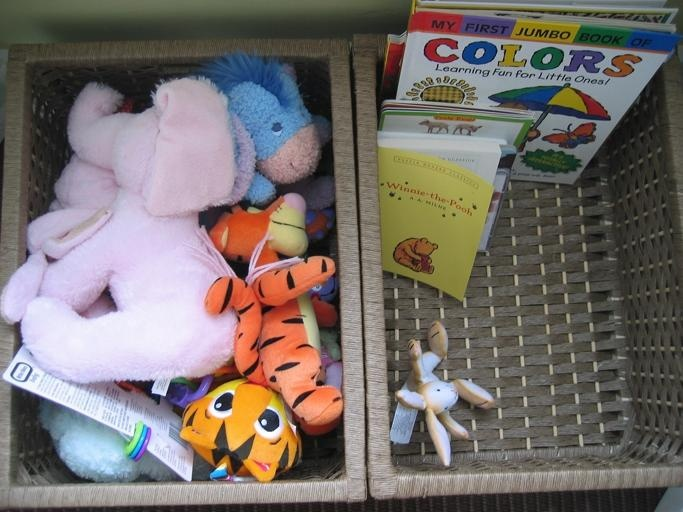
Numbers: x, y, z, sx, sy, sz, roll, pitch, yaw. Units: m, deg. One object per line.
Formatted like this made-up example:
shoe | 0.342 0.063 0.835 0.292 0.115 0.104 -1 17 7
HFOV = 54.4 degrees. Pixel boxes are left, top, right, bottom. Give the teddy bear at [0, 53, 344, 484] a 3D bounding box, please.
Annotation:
teddy bear | -0.359 0.005 1.272 0.665 0.293 0.612 -6 92 -13

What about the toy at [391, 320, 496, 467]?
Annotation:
toy | 0.182 0.226 1.110 0.180 0.142 0.229 16 84 3

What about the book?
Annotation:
book | 0.286 -0.268 1.115 0.387 0.314 0.199 14 85 3
